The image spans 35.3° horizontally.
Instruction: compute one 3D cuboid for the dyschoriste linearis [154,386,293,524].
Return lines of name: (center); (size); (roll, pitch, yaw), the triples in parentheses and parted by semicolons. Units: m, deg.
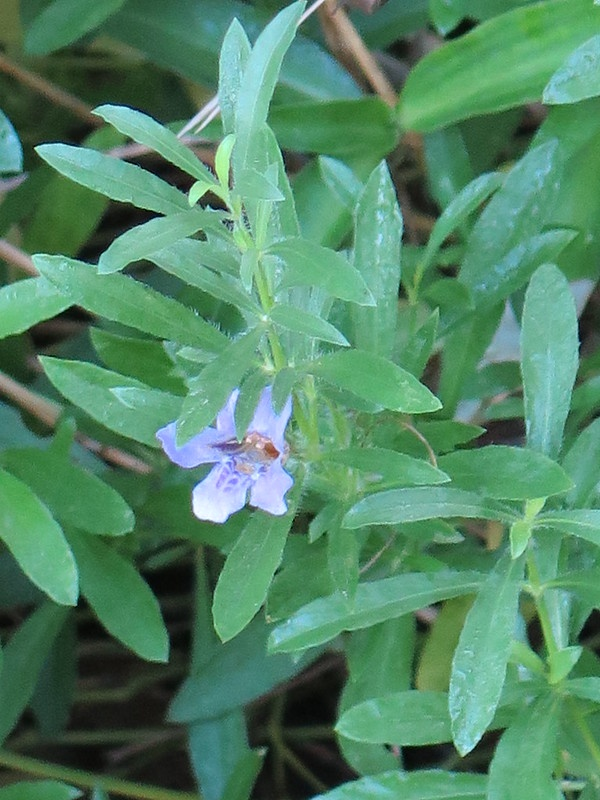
dyschoriste linearis: (-0.069, 0.063, 1.050); (0.135, 0.132, 0.125); (-16, 20, -27)
